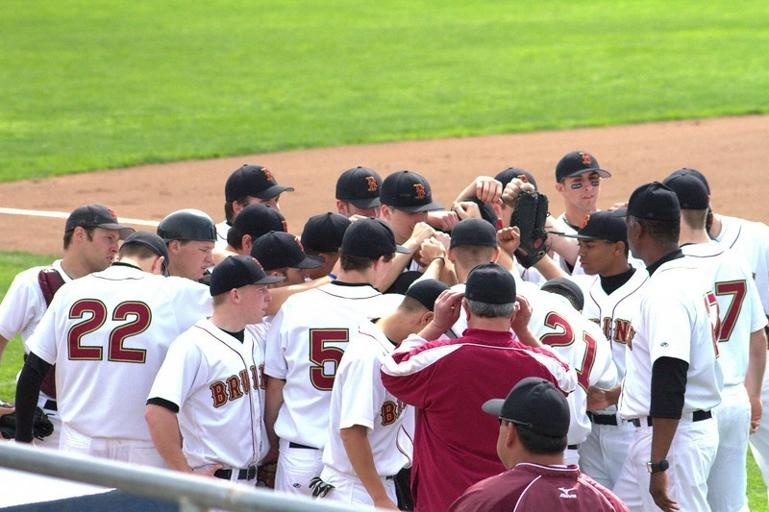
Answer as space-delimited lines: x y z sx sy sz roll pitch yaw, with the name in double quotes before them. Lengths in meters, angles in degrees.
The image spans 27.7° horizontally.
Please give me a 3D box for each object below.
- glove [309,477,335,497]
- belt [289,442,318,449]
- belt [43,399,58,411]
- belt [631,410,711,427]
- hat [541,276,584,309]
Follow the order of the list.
"glove" -1.006 3.683 24.599 0.318 0.291 0.103 23 -9 21
"belt" -1.291 3.047 24.768 0.464 0.106 0.027 3 12 8
"belt" -5.449 2.460 25.368 0.211 0.197 0.032 2 12 1
"belt" 4.626 2.637 24.875 1.290 0.316 0.204 1 11 -2
"hat" 2.969 0.614 25.417 0.450 0.436 0.599 26 -2 45
